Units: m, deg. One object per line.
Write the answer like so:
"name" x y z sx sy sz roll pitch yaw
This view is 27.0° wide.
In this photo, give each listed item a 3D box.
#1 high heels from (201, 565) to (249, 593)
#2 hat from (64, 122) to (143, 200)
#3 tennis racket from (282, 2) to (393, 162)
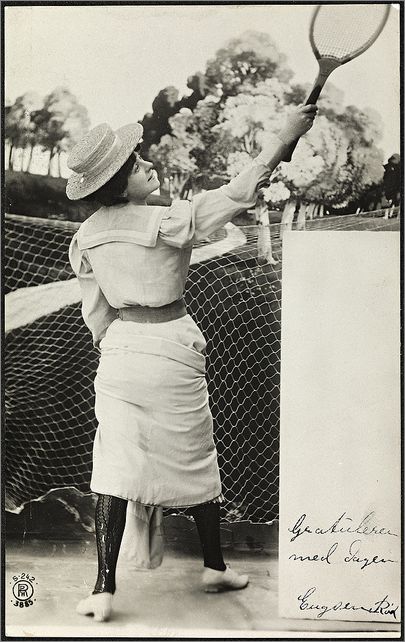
"high heels" 0.065 0.798 2.615 0.161 0.083 0.058 1 -2 -18
"hat" -0.279 -0.469 2.415 0.211 0.212 0.247 0 0 -9
"tennis racket" 0.390 -0.765 2.556 0.233 0.651 0.036 21 1 3
